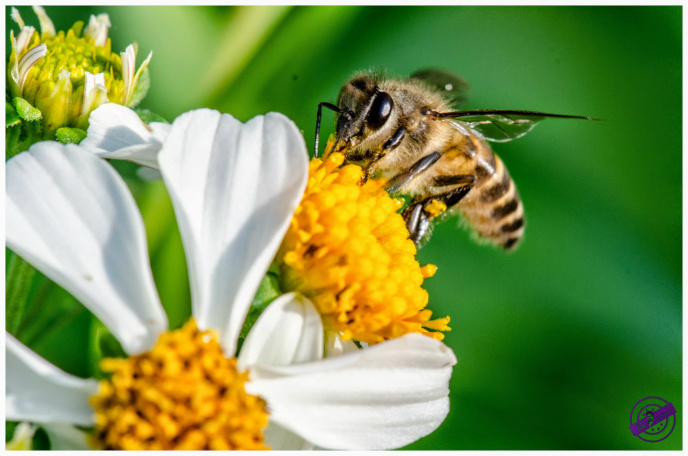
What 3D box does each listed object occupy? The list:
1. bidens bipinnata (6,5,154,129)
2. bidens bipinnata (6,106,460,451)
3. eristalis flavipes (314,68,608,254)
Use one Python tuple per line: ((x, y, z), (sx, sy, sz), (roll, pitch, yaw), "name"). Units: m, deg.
((-0.731, -0.443, 1.760), (0.373, 0.434, 0.373), (20, 32, 38), "bidens bipinnata")
((-0.250, 0.131, 1.364), (0.996, 0.773, 0.294), (11, 11, -7), "bidens bipinnata")
((0.366, -0.267, 2.390), (0.928, 0.488, 1.071), (17, 2, -35), "eristalis flavipes")
